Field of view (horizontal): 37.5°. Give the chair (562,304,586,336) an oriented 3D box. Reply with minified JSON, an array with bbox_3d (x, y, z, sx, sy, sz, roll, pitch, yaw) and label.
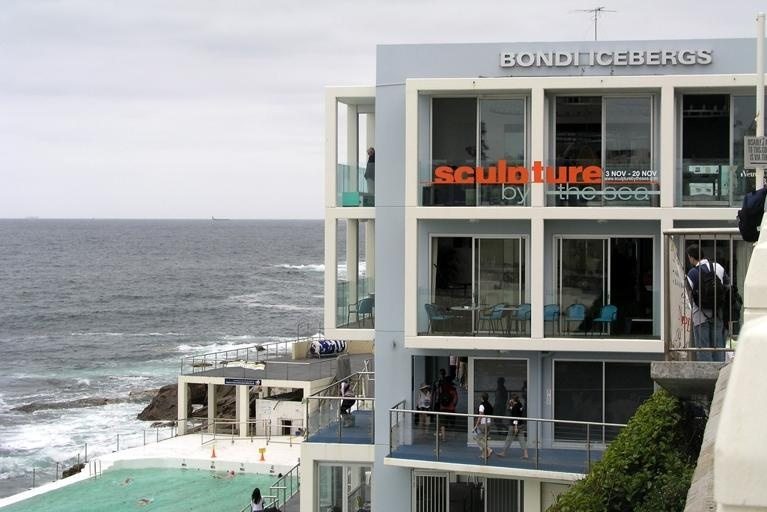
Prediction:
[{"bbox_3d":[6.659,2.144,39.511,0.888,1.261,0.910,0,0,14],"label":"chair"}]

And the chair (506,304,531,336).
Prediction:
[{"bbox_3d":[4.713,2.184,39.217,0.968,1.334,1.020,1,0,24],"label":"chair"}]

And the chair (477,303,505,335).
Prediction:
[{"bbox_3d":[3.730,2.153,39.275,0.862,1.266,0.937,0,2,-42],"label":"chair"}]

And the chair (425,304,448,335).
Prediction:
[{"bbox_3d":[1.739,2.184,39.353,0.931,0.979,0.964,-1,2,12],"label":"chair"}]

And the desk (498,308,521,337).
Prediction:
[{"bbox_3d":[4.346,2.203,39.258,0.828,0.893,0.809,2,1,4],"label":"desk"}]

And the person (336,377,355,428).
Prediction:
[{"bbox_3d":[-1.287,5.014,40.446,0.648,1.824,0.569,2,7,16],"label":"person"}]

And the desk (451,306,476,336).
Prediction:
[{"bbox_3d":[2.764,2.241,39.681,1.070,1.074,0.851,-1,-3,5],"label":"desk"}]

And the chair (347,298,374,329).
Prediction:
[{"bbox_3d":[-1.077,2.026,41.408,0.929,1.390,0.984,1,1,-42],"label":"chair"}]
